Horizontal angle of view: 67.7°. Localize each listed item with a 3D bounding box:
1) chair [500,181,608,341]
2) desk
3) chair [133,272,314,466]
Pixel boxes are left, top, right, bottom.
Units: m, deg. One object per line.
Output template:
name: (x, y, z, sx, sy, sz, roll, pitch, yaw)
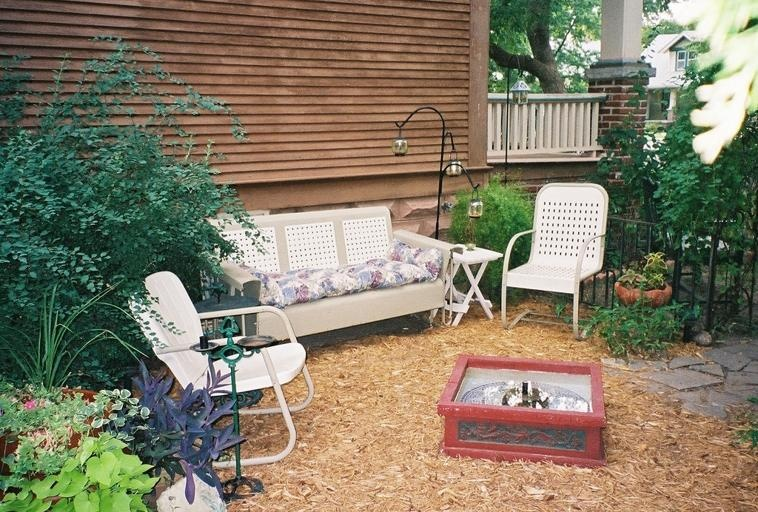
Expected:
chair: (2.133, -0.017, 6.819, 1.036, 1.648, 1.247, 2, 14, 25)
desk: (1.159, 0.279, 7.029, 0.690, 0.961, 0.889, -3, 12, 7)
chair: (-1.197, 0.783, 4.509, 1.223, 1.027, 0.709, 6, 16, -1)
